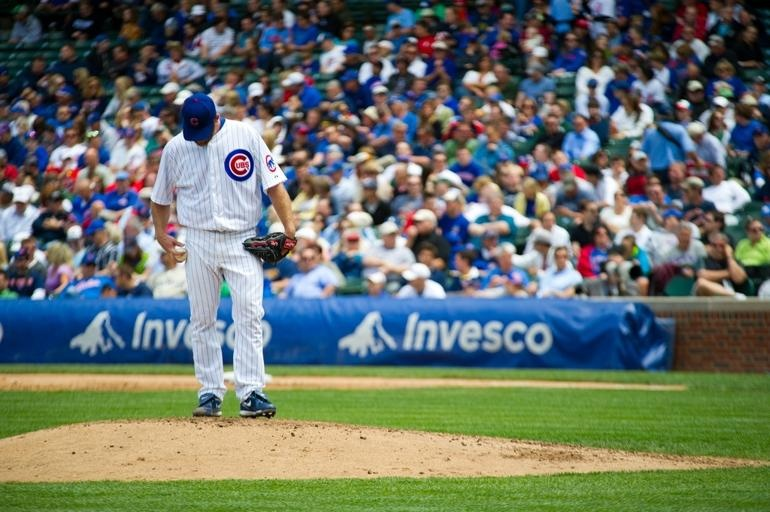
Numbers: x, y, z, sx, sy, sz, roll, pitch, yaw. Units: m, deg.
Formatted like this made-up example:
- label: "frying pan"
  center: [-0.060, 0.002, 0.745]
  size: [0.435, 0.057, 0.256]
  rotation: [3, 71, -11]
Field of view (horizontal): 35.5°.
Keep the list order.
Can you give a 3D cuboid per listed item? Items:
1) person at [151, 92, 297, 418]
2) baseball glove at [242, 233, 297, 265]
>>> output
- label: "person"
  center: [-1.778, -0.006, 13.391]
  size: [1.558, 3.552, 0.755]
  rotation: [-1, 8, 0]
- label: "baseball glove"
  center: [-1.291, -0.112, 13.417]
  size: [0.440, 0.215, 0.364]
  rotation: [11, 18, 22]
